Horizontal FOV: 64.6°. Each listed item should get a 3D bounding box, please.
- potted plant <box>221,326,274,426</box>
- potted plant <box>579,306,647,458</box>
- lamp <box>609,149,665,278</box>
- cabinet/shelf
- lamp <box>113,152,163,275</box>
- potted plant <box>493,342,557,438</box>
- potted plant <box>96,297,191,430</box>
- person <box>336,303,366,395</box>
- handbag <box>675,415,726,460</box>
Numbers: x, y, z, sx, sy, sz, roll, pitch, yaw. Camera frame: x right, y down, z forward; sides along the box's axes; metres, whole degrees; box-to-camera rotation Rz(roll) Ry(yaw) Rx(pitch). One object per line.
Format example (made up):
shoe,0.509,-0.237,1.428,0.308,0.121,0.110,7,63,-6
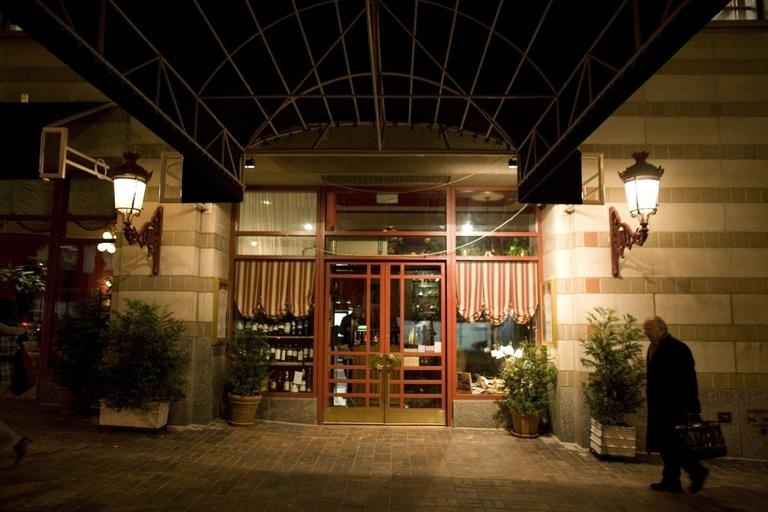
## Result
potted plant,-2.870,2.491,12.661,0.851,2.002,0.402,4,-11,-10
potted plant,4.286,2.310,11.342,1.127,2.788,0.781,0,-11,9
lamp,4.626,-0.887,11.343,0.575,1.960,1.281,3,-11,-4
cabinet/shelf,-2.444,2.142,13.404,1.929,1.896,0.657,6,-18,-28
lamp,-4.885,-0.948,12.005,0.658,2.261,1.545,3,-11,-4
potted plant,2.930,2.713,12.462,1.124,1.899,0.885,0,-11,9
potted plant,-4.693,2.126,11.984,1.622,2.481,0.779,5,-11,-17
person,-0.748,1.993,13.186,0.593,1.921,0.163,-2,-11,20
handbag,5.167,2.965,9.903,0.660,0.628,0.373,0,-7,-12
